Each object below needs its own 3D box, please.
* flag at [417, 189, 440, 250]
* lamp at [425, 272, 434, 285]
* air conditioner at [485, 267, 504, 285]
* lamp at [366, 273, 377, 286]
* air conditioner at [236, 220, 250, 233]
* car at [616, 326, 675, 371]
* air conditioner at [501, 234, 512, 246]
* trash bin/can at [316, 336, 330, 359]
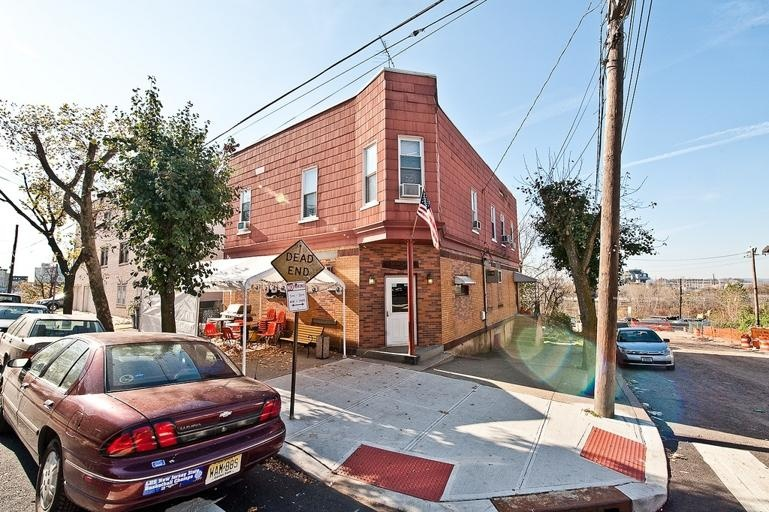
[{"bbox_3d":[1.374,-1.102,13.593,0.683,1.845,1.604,3,11,4],"label":"flag"},{"bbox_3d":[1.587,0.792,15.027,0.249,0.427,0.139,3,11,0],"label":"lamp"},{"bbox_3d":[5.293,0.986,20.950,0.418,0.982,1.922,8,12,25],"label":"air conditioner"},{"bbox_3d":[-0.416,0.811,14.809,0.403,0.716,0.394,-1,-6,1],"label":"lamp"},{"bbox_3d":[-6.164,-1.264,19.024,0.753,0.531,0.166,9,13,31],"label":"air conditioner"},{"bbox_3d":[8.975,3.241,15.007,1.629,1.071,1.877,8,12,27],"label":"car"},{"bbox_3d":[6.502,-0.802,23.101,0.585,0.626,1.023,-2,-10,24],"label":"air conditioner"},{"bbox_3d":[-2.005,2.994,14.224,0.434,0.696,0.459,3,11,1],"label":"trash bin/can"}]
